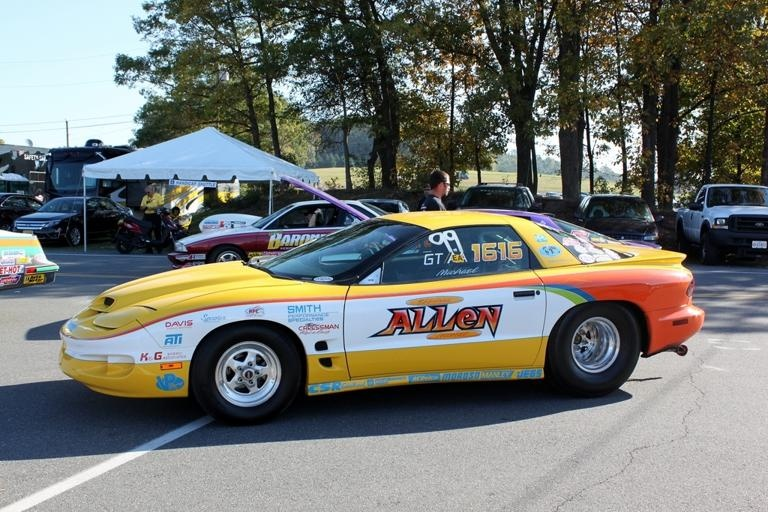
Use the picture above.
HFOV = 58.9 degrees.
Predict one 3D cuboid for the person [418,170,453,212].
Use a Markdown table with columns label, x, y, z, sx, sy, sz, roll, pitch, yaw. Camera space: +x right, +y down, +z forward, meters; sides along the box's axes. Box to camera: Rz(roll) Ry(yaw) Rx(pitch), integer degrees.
| label | x | y | z | sx | sy | sz | roll | pitch | yaw |
| --- | --- | --- | --- | --- | --- | --- | --- | --- | --- |
| person | 0.771 | -0.915 | 10.138 | 0.396 | 0.657 | 0.805 | 6 | 11 | 1 |
